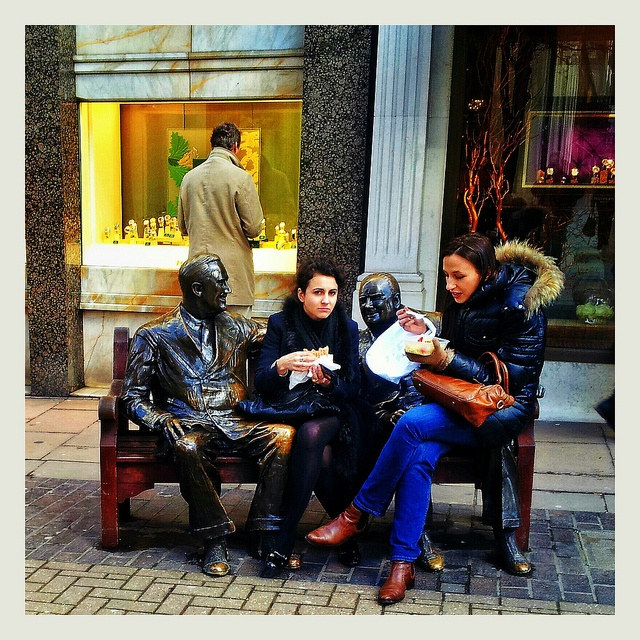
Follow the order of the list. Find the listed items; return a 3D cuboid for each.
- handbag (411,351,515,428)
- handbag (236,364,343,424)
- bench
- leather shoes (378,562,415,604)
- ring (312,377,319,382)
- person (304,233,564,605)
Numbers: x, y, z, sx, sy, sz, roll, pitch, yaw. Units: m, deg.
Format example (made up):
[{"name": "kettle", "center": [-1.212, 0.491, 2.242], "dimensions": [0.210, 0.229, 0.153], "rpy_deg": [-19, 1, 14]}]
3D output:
[{"name": "handbag", "center": [0.659, 0.336, 3.469], "dimensions": [0.324, 0.312, 0.416], "rpy_deg": [28, -2, -24]}, {"name": "handbag", "center": [-0.150, 0.418, 3.623], "dimensions": [0.374, 0.170, 0.310], "rpy_deg": [-5, 27, -7]}, {"name": "bench", "center": [-0.040, 0.686, 3.981], "dimensions": [2.226, 1.309, 0.779], "rpy_deg": [0, -6, -8]}, {"name": "leather shoes", "center": [0.335, 1.165, 3.182], "dimensions": [0.084, 0.121, 0.245], "rpy_deg": [0, -5, 23]}, {"name": "ring", "center": [-0.032, 0.290, 3.538], "dimensions": [0.018, 0.024, 0.009], "rpy_deg": [1, 42, 4]}, {"name": "person", "center": [0.609, 0.395, 3.486], "dimensions": [1.036, 1.631, 0.523], "rpy_deg": [-3, 8, -28]}]
